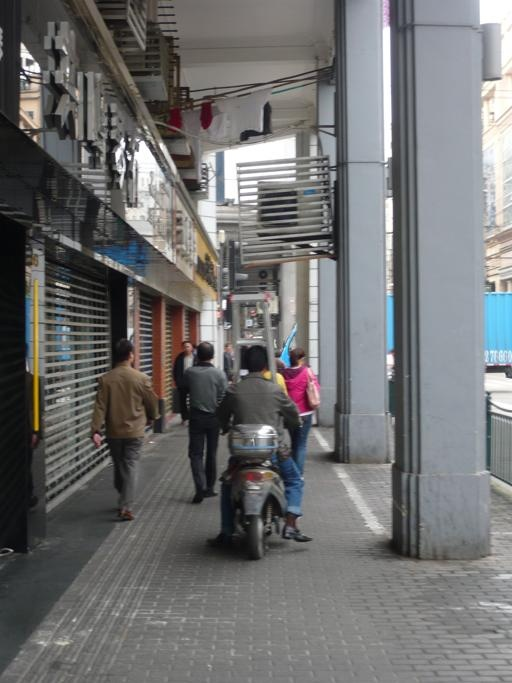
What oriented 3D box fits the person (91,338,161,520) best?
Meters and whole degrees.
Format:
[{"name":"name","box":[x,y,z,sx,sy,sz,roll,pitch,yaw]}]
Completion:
[{"name":"person","box":[-1.271,0.849,7.711,0.608,1.722,0.523,0,-1,-10]}]

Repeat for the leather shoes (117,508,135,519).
[{"name":"leather shoes","box":[-1.256,1.660,7.690,0.092,0.082,0.197,-7,-8,10]}]

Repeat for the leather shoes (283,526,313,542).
[{"name":"leather shoes","box":[0.349,1.567,6.529,0.301,0.108,0.130,15,-36,-39]}]

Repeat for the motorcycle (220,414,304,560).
[{"name":"motorcycle","box":[-0.027,1.160,6.306,0.520,1.041,0.614,-1,-1,1]}]
